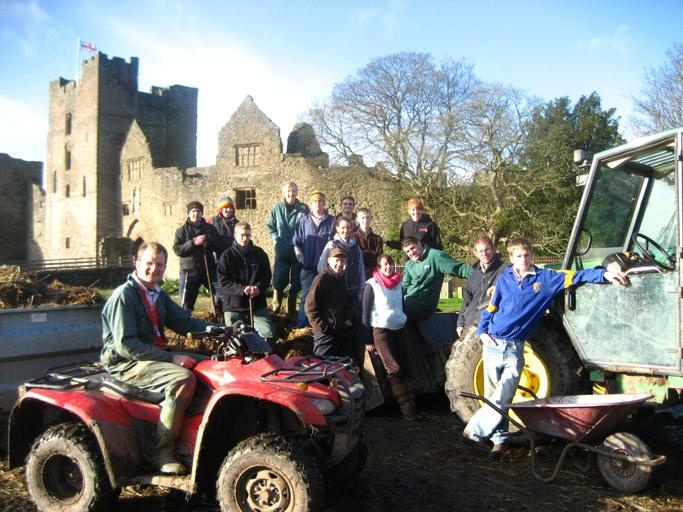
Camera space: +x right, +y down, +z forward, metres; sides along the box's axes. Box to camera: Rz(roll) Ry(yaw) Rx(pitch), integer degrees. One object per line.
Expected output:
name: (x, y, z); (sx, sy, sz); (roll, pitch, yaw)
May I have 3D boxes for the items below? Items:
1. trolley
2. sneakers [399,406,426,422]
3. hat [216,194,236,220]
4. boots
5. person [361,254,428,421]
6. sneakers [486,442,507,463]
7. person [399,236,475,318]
trolley: (2.232, 1.790, 6.377); (1.752, 0.914, 0.979); (-4, -2, 38)
sneakers: (0.990, 2.194, 8.532); (0.136, 0.299, 0.402); (2, -16, -24)
hat: (-1.992, -0.863, 10.981); (0.352, 0.473, 0.422); (-1, 2, -29)
boots: (-1.561, 1.672, 5.593); (0.289, 0.603, 0.251); (-1, 3, -19)
person: (0.678, 1.109, 8.682); (0.772, 2.253, 0.515); (0, 3, 10)
sneakers: (1.753, 2.232, 6.986); (0.166, 0.301, 0.195); (5, -16, 31)
person: (1.413, 0.332, 9.513); (0.966, 1.229, 1.498); (1, -2, -29)
